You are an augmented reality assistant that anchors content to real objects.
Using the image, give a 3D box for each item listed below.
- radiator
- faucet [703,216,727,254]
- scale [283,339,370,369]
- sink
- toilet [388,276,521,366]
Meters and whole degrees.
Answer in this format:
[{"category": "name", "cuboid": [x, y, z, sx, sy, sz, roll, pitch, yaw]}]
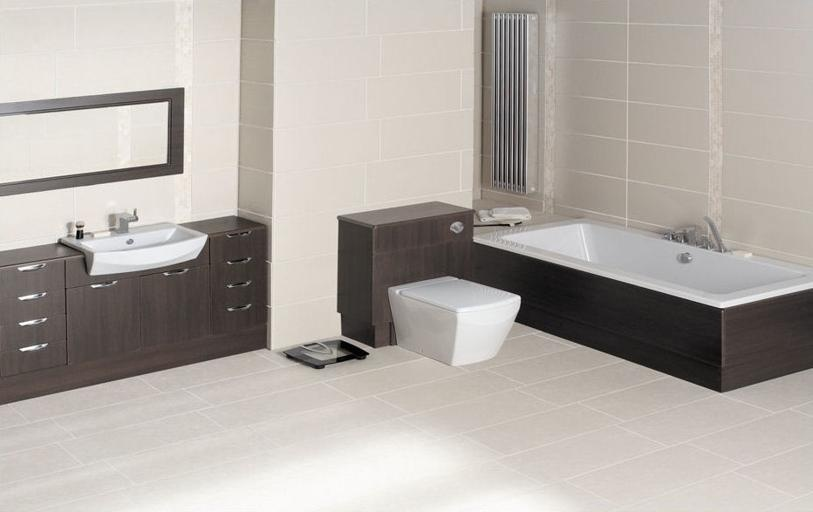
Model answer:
[{"category": "radiator", "cuboid": [1.112, -1.544, 6.412, 0.500, 1.812, 0.606, 1, 23, 10]}, {"category": "faucet", "cuboid": [2.498, -0.169, 5.021, 0.062, 0.297, 0.135, -30, 15, -30]}, {"category": "scale", "cuboid": [-0.593, 0.694, 4.487, 0.481, 0.067, 0.394, -13, 22, -30]}, {"category": "sink", "cuboid": [-1.789, -0.054, 4.112, 0.517, 0.156, 0.754, 22, 24, 38]}, {"category": "toilet", "cuboid": [0.352, 0.473, 4.578, 0.694, 0.399, 0.893, -9, 12, -31]}]
